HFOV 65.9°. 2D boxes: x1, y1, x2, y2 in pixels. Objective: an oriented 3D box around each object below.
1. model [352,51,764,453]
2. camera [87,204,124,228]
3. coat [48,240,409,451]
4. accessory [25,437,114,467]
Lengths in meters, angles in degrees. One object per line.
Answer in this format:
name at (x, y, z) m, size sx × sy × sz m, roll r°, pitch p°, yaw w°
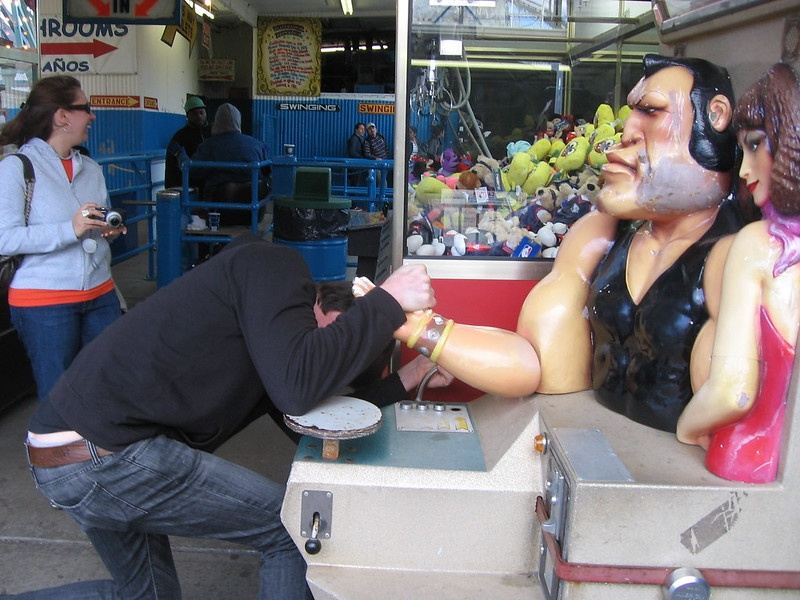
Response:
model at (0.531, -0.142, 1.673) m, size 0.733 × 0.955 × 1.104 m, roll -17°, pitch 20°, yaw -36°
camera at (-1.415, -0.408, 3.034) m, size 0.139 × 0.113 × 0.253 m, roll 2°, pitch 14°, yaw 11°
coat at (-0.478, 0.131, 1.757) m, size 0.795 × 0.469 × 0.583 m, roll 1°, pitch 1°, yaw -10°
accessory at (-0.927, 0.431, 1.715) m, size 0.168 × 0.054 × 0.128 m, roll -1°, pitch 0°, yaw -16°
